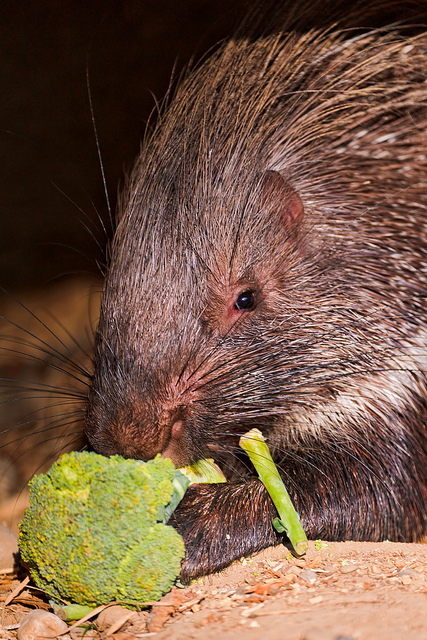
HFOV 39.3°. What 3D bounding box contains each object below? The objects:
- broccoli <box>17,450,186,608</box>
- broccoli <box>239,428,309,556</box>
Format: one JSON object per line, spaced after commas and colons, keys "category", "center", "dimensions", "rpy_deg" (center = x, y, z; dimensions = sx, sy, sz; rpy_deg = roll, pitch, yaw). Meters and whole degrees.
{"category": "broccoli", "center": [-0.361, 0.634, 1.847], "dimensions": [0.486, 0.489, 0.155], "rpy_deg": [-1, -1, 16]}
{"category": "broccoli", "center": [0.133, 0.597, 2.130], "dimensions": [0.148, 0.505, 0.161], "rpy_deg": [-20, -23, -13]}
